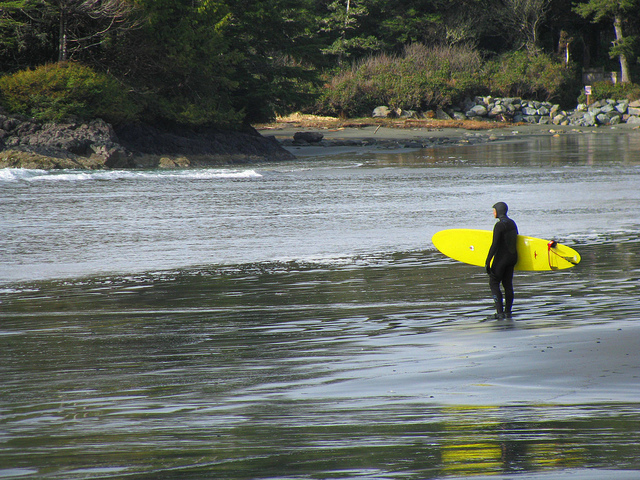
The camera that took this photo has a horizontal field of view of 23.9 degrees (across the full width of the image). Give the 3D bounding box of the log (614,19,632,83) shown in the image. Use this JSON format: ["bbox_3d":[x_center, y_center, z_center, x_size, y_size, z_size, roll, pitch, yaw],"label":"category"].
[{"bbox_3d":[19.734,-12.095,97.089,0.657,3.924,2.691,-7,8,12],"label":"log"}]

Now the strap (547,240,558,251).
[{"bbox_3d":[6.305,0.127,40.567,0.223,0.252,0.097,22,-18,7],"label":"strap"}]
